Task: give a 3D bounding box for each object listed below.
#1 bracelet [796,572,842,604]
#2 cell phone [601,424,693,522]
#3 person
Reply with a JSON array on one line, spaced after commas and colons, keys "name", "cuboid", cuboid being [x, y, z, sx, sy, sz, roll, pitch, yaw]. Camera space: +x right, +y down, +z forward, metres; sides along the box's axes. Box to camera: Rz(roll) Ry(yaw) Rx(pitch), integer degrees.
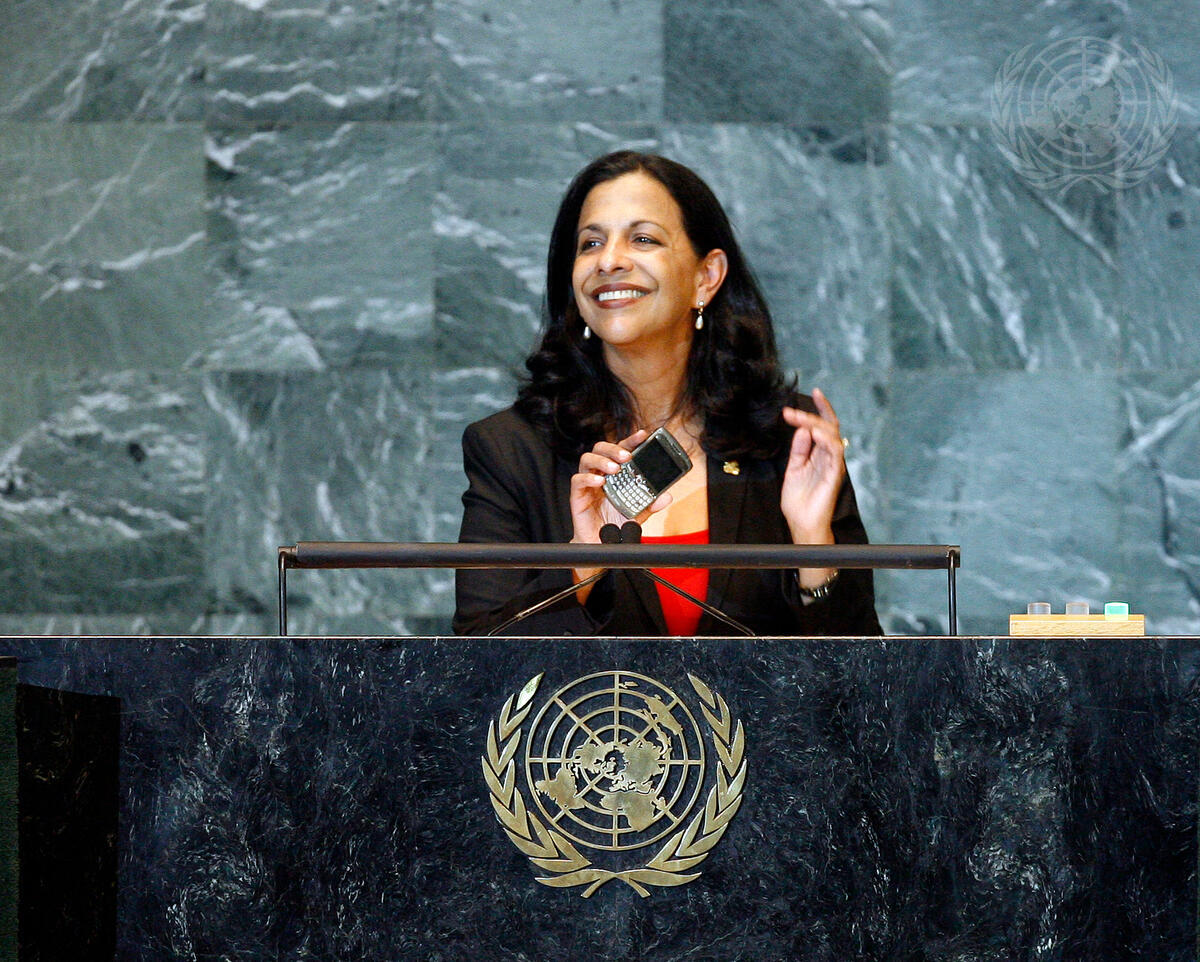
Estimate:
[{"name": "bracelet", "cuboid": [0.535, 0.277, 7.002, 0.066, 0.048, 0.097, 3, 85, 18]}, {"name": "cell phone", "cuboid": [0.113, -0.009, 6.842, 0.124, 0.029, 0.225, 43, 97, 3]}, {"name": "person", "cuboid": [0.137, -0.236, 7.142, 1.049, 0.882, 1.485, -4, 63, -3]}]
